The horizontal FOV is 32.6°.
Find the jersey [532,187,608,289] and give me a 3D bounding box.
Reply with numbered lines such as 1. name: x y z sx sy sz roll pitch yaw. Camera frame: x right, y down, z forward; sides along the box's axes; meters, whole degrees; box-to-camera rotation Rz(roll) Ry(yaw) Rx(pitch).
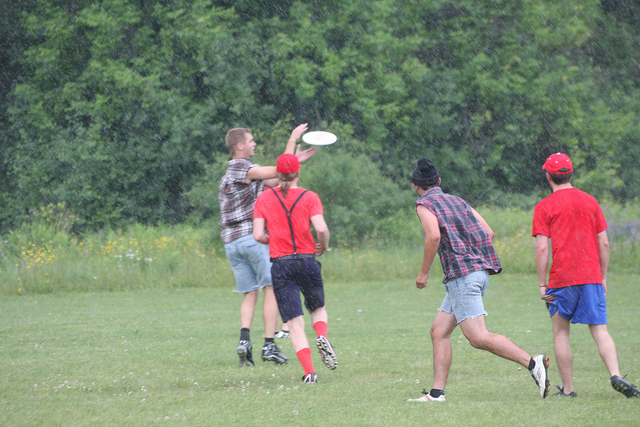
1. jersey: 5.830 0.573 25.206 1.850 2.174 0.870 -2 -5 -11

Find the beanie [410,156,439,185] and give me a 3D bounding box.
1. beanie: 2.479 -0.974 25.162 0.577 0.619 0.748 -19 17 -5
